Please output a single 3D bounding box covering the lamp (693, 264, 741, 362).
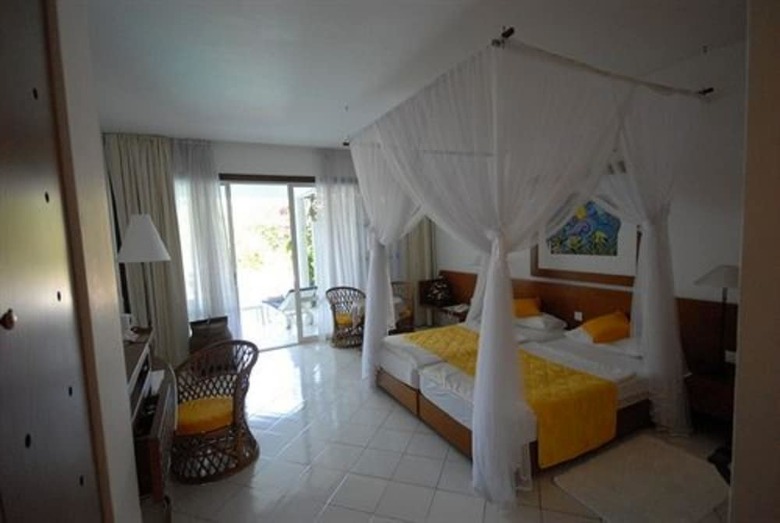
[{"bbox_3d":[2.636,0.436,4.130,0.276,0.822,0.369,1,6,38],"label":"lamp"}]

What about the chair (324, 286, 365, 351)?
[{"bbox_3d":[-0.599,0.716,6.871,0.502,0.635,0.511,0,17,6],"label":"chair"}]

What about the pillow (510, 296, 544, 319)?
[{"bbox_3d":[1.445,0.483,5.336,0.270,0.094,0.297,-10,21,1],"label":"pillow"}]

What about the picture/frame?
[{"bbox_3d":[1.733,-0.327,4.389,0.035,0.812,0.914,6,1,-28],"label":"picture/frame"}]

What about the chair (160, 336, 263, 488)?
[{"bbox_3d":[-1.447,1.165,4.156,0.717,0.933,0.703,-5,2,-40],"label":"chair"}]

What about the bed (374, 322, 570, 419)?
[{"bbox_3d":[0.661,0.937,4.270,0.878,0.227,0.847,-4,5,-33],"label":"bed"}]

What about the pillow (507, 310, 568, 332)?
[{"bbox_3d":[1.503,0.604,5.148,0.296,0.098,0.328,-7,7,-18],"label":"pillow"}]

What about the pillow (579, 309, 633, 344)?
[{"bbox_3d":[2.062,0.614,4.800,0.294,0.102,0.322,-25,17,0],"label":"pillow"}]

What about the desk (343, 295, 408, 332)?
[{"bbox_3d":[-0.205,0.680,6.689,0.971,0.420,0.779,-2,4,2],"label":"desk"}]

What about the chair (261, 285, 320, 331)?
[{"bbox_3d":[-1.443,0.610,7.239,0.452,0.571,0.888,-2,5,-36],"label":"chair"}]
